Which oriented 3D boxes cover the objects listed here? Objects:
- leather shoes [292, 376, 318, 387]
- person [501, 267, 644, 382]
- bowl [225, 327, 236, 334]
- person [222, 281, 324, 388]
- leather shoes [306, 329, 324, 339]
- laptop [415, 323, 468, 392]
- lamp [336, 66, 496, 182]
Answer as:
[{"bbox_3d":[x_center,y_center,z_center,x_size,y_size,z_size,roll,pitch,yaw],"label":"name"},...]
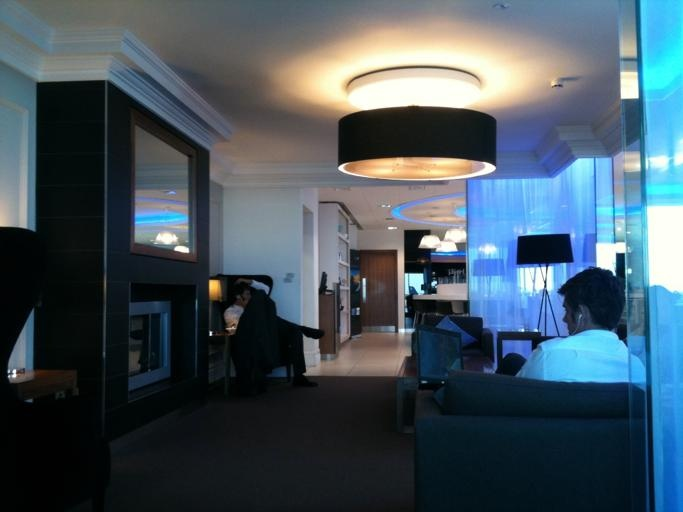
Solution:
[{"bbox_3d":[-0.467,1.517,6.709,0.363,0.164,0.121,-1,-4,0],"label":"leather shoes"},{"bbox_3d":[1.278,0.377,2.877,0.763,0.567,0.512,5,-4,-16],"label":"person"},{"bbox_3d":[-1.326,0.893,6.607,0.082,0.046,0.115,-1,-1,1],"label":"bowl"},{"bbox_3d":[-0.852,0.930,6.622,1.017,1.268,0.828,1,-2,-26],"label":"person"},{"bbox_3d":[-0.344,1.007,7.074,0.202,0.146,0.116,6,-4,2],"label":"leather shoes"},{"bbox_3d":[0.605,0.639,3.442,0.080,0.511,0.681,-11,-16,34],"label":"laptop"},{"bbox_3d":[0.679,-1.288,5.482,1.625,0.859,1.599,-4,7,-41],"label":"lamp"}]
